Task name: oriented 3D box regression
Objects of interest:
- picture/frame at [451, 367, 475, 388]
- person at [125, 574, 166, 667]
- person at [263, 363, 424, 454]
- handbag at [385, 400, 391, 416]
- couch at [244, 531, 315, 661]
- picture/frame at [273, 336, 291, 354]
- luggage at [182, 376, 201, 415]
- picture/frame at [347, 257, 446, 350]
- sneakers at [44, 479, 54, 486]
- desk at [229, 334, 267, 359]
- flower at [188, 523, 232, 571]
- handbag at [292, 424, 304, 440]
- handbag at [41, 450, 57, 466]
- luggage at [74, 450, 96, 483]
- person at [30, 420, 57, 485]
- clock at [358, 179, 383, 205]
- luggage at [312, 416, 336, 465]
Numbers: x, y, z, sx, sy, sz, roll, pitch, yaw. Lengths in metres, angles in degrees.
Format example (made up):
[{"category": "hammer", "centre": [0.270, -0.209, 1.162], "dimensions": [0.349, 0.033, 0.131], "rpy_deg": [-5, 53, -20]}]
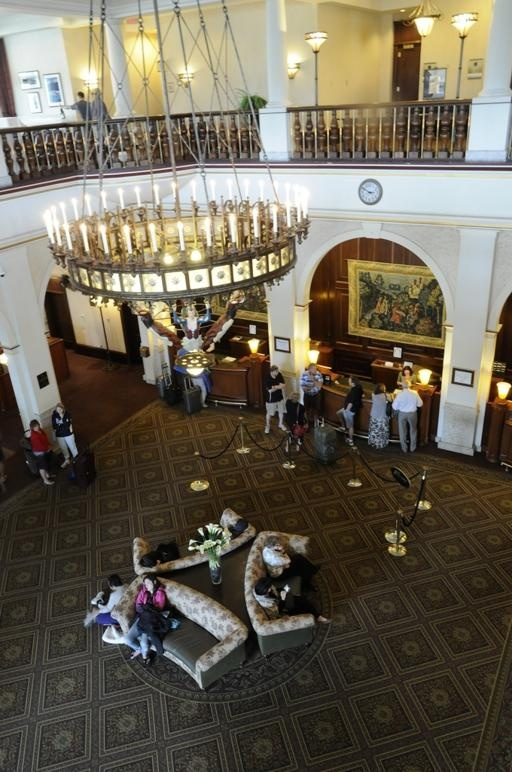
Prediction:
[{"category": "picture/frame", "centre": [3.400, -0.153, 7.544], "dimensions": [0.288, 0.293, 0.031], "rpy_deg": [20, 38, 33]}, {"category": "person", "centre": [-1.102, 2.396, 4.704], "dimensions": [0.427, 0.787, 0.473], "rpy_deg": [6, -12, -28]}, {"category": "person", "centre": [1.895, 0.430, 8.347], "dimensions": [2.117, 1.559, 0.765], "rpy_deg": [-1, 9, 31]}, {"category": "handbag", "centre": [2.291, 0.396, 7.971], "dimensions": [0.095, 0.301, 0.151], "rpy_deg": [-1, 9, 27]}, {"category": "couch", "centre": [0.302, 2.282, 4.752], "dimensions": [0.755, 0.627, 1.467], "rpy_deg": [-7, 37, 0]}, {"category": "picture/frame", "centre": [0.534, -0.864, 9.328], "dimensions": [0.307, 0.307, 0.033], "rpy_deg": [18, 37, 29]}, {"category": "luggage", "centre": [-1.373, 0.186, 9.958], "dimensions": [0.367, 0.806, 0.654], "rpy_deg": [-6, 8, -7]}, {"category": "picture/frame", "centre": [2.816, -1.707, 9.078], "dimensions": [1.876, 1.407, 0.073], "rpy_deg": [21, 42, 32]}, {"category": "sneakers", "centre": [-3.589, 1.694, 8.014], "dimensions": [0.160, 0.069, 0.060], "rpy_deg": [11, 26, 28]}, {"category": "desk", "centre": [-0.232, -0.940, 11.367], "dimensions": [0.983, 0.640, 0.587], "rpy_deg": [13, 32, 22]}, {"category": "flower", "centre": [-0.499, 1.858, 5.183], "dimensions": [0.525, 0.538, 0.539], "rpy_deg": [-2, 42, 5]}, {"category": "handbag", "centre": [0.745, 0.814, 8.191], "dimensions": [0.266, 0.335, 0.142], "rpy_deg": [2, 46, 5]}, {"category": "handbag", "centre": [-3.608, 1.293, 8.024], "dimensions": [0.238, 0.241, 0.439], "rpy_deg": [-9, 1, -16]}, {"category": "luggage", "centre": [-2.901, 1.407, 7.805], "dimensions": [0.165, 0.515, 0.328], "rpy_deg": [14, 45, 10]}, {"category": "person", "centre": [-3.712, 1.162, 8.000], "dimensions": [0.294, 1.184, 0.440], "rpy_deg": [-9, 8, -25]}, {"category": "clock", "centre": [1.740, -2.993, 7.004], "dimensions": [0.338, 0.347, 0.070], "rpy_deg": [14, 33, 40]}, {"category": "luggage", "centre": [1.200, 0.998, 8.119], "dimensions": [0.492, 0.849, 0.459], "rpy_deg": [-19, 26, -41]}]
